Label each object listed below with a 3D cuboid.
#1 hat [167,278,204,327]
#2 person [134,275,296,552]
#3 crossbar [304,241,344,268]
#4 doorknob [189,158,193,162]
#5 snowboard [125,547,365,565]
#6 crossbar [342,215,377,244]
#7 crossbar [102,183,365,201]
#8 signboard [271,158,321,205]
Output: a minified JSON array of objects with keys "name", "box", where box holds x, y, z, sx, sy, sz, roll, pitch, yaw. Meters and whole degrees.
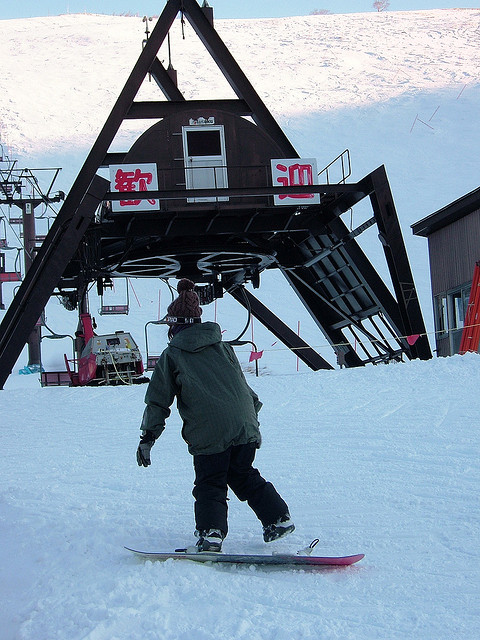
[{"name":"hat","box":[-0.360,-0.109,4.419,0.197,0.308,0.318,-1,-1,-4]},{"name":"person","box":[-0.174,0.513,4.126,0.870,1.537,0.604,-1,-1,-12]},{"name":"crossbar","box":[2.060,-1.627,17.813,0.209,0.232,1.451,-40,5,-29]},{"name":"doorknob","box":[-1.182,-3.788,16.600,0.081,0.098,0.029,0,-1,-31]},{"name":"snowboard","box":[0.036,1.263,3.743,1.229,0.111,0.198,-1,-1,9]},{"name":"crossbar","box":[2.652,-2.060,16.099,0.265,0.233,1.774,32,-14,-13]},{"name":"crossbar","box":[-0.097,-2.773,15.137,5.692,0.472,0.491,-1,-1,-9]},{"name":"signboard","box":[1.214,-3.140,15.918,1.094,1.067,0.803,-2,7,-2]}]
